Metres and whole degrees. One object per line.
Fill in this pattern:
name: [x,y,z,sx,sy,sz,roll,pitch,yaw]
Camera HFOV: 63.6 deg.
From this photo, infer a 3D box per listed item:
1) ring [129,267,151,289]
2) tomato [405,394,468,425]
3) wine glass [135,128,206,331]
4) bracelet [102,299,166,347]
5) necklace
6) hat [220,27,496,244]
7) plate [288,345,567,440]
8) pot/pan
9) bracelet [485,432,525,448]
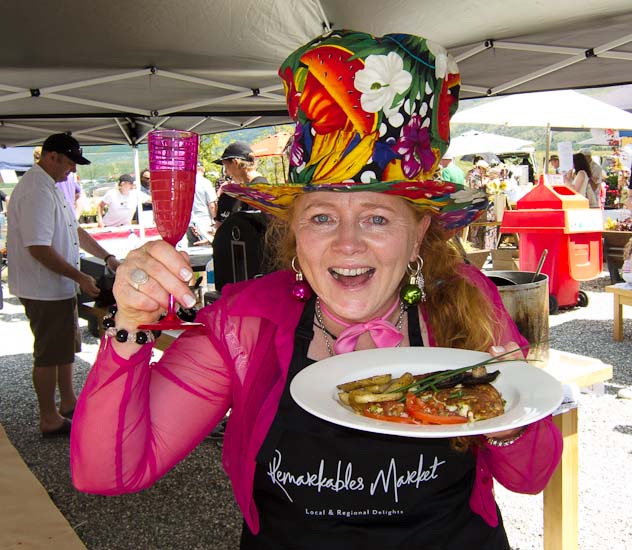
ring: [-0.416,0.009,1.203,0.035,0.046,0.023,4,14,32]
tomato: [0.297,0.332,1.300,0.149,0.049,0.112,-1,5,-7]
wine glass: [-0.408,-0.133,1.429,0.164,0.517,0.162,1,13,-18]
bracelet: [-0.449,0.126,1.267,0.176,0.102,0.089,-2,12,6]
necklace: [0.152,0.188,1.850,0.294,0.183,0.244,-3,13,-26]
hat: [0.083,-0.527,1.775,0.905,0.447,0.785,-3,7,2]
plate: [0.283,0.296,1.328,0.492,0.048,0.419,-1,10,-3]
pot/pan: [0.835,0.200,2.330,0.460,0.329,0.433,-3,6,-38]
bracelet: [0.567,0.497,1.536,0.087,0.020,0.067,-15,-16,2]
